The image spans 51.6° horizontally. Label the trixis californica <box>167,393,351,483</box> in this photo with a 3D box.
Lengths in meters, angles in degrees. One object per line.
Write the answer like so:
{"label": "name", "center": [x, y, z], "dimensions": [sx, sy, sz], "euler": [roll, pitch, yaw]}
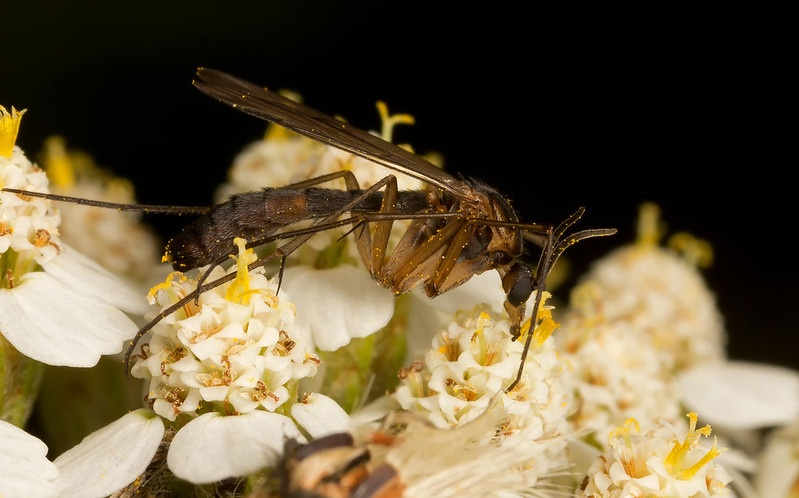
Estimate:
{"label": "trixis californica", "center": [-0.213, 0.264, 1.208], "dimensions": [0.148, 0.031, 0.152], "euler": [9, 23, 38]}

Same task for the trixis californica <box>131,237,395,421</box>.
{"label": "trixis californica", "center": [-0.188, 0.116, 1.411], "dimensions": [0.323, 0.095, 0.287], "euler": [-12, 38, -11]}
